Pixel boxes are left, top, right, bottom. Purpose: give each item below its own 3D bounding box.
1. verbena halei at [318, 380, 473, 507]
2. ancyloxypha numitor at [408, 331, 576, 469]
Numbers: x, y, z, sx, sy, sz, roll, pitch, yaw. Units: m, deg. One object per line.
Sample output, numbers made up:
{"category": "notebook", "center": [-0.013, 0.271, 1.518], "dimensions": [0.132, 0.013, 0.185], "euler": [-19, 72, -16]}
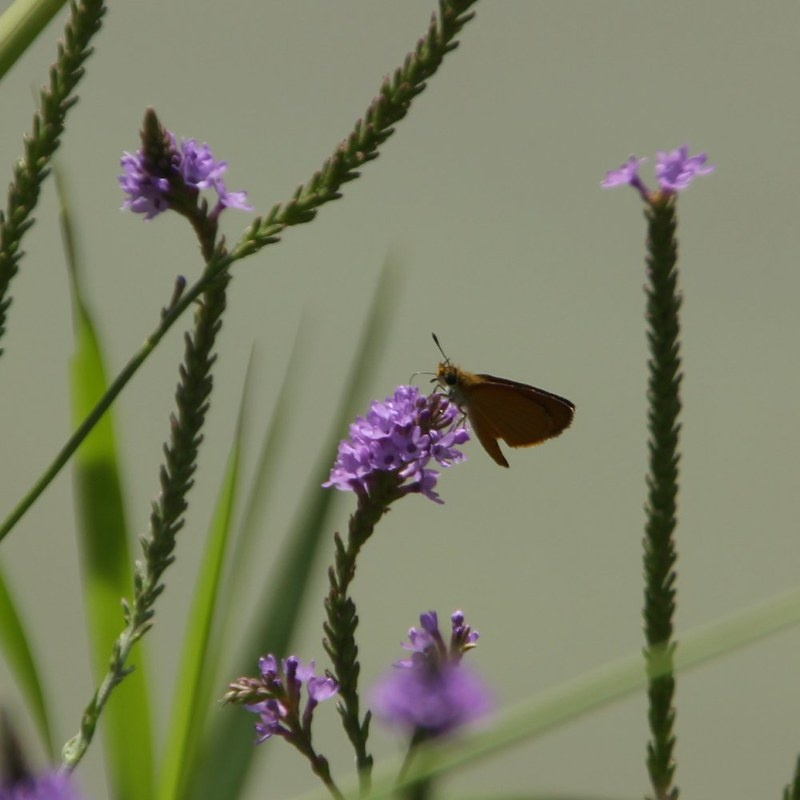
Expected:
{"category": "verbena halei", "center": [-0.001, 0.032, 1.391], "dimensions": [0.083, 0.103, 0.088], "euler": [21, -5, 10]}
{"category": "ancyloxypha numitor", "center": [0.085, 0.005, 1.784], "dimensions": [0.099, 0.084, 0.123], "euler": [14, -12, 19]}
